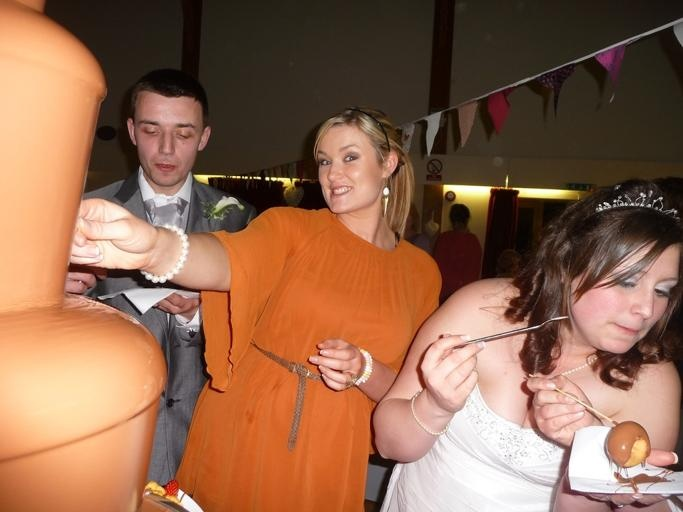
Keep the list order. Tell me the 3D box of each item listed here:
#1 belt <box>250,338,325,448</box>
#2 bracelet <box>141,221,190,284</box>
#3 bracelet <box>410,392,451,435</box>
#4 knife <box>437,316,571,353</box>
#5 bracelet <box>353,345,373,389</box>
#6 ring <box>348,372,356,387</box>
[{"bbox_3d":[-0.168,0.437,1.558,0.259,0.321,0.103,14,-27,-8],"label":"belt"},{"bbox_3d":[-0.389,-0.003,1.062,0.029,0.121,0.101,27,37,-27],"label":"bracelet"},{"bbox_3d":[0.221,0.418,1.348,0.031,0.123,0.115,-46,13,-33],"label":"bracelet"},{"bbox_3d":[0.470,0.223,1.428,0.398,0.042,0.041,-14,57,-22],"label":"knife"},{"bbox_3d":[0.076,0.358,1.588,0.045,0.112,0.080,8,-14,-21],"label":"bracelet"},{"bbox_3d":[0.033,0.379,1.542,0.015,0.040,0.029,4,-1,-2],"label":"ring"}]
